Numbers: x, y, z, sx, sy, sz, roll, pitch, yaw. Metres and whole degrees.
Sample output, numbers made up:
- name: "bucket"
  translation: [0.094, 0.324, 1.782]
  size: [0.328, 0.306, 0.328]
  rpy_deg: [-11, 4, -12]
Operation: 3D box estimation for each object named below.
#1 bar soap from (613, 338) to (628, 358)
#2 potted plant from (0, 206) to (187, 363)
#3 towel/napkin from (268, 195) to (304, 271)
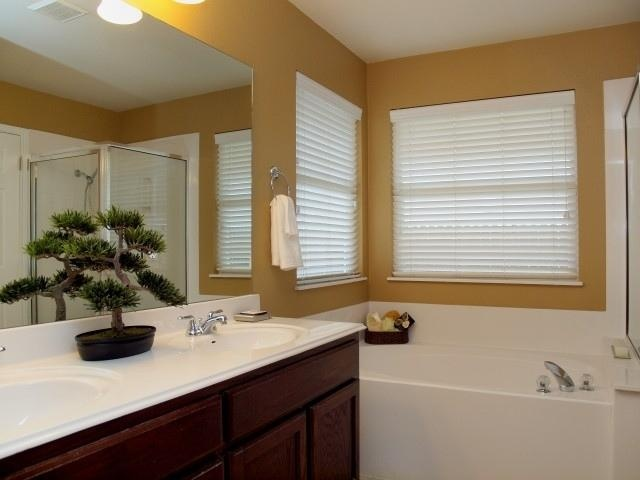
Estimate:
- name: "bar soap"
  translation: [1.939, 0.715, 3.096]
  size: [0.112, 0.038, 0.126]
  rpy_deg: [7, 35, 34]
- name: "potted plant"
  translation: [-0.870, 0.127, 1.923]
  size: [0.586, 0.572, 0.491]
  rpy_deg: [2, -7, -18]
- name: "towel/napkin"
  translation: [-0.202, -0.046, 2.769]
  size: [0.170, 0.391, 0.155]
  rpy_deg: [-2, 1, 12]
